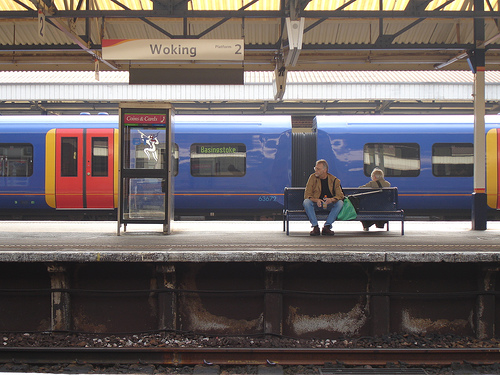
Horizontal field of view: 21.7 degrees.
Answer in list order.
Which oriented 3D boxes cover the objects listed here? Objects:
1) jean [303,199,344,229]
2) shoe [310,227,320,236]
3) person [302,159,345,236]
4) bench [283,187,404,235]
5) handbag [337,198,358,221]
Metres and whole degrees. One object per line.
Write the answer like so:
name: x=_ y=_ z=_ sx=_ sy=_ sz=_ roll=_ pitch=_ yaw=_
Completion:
jean: x=1.963 y=0.694 z=34.740 sx=1.086 sy=0.751 sz=0.318 roll=-1 pitch=-4 yaw=2
shoe: x=1.724 y=1.185 z=34.687 sx=0.268 sy=0.232 sz=0.206 roll=-1 pitch=-4 yaw=1
person: x=1.995 y=0.268 z=35.076 sx=1.017 sy=1.912 sz=1.116 roll=0 pitch=0 yaw=2
bench: x=2.494 y=0.642 z=35.096 sx=3.235 sy=1.044 sz=0.993 roll=0 pitch=16 yaw=-10
handbag: x=2.578 y=0.597 z=34.814 sx=0.640 sy=0.546 sz=0.286 roll=-5 pitch=5 yaw=10
